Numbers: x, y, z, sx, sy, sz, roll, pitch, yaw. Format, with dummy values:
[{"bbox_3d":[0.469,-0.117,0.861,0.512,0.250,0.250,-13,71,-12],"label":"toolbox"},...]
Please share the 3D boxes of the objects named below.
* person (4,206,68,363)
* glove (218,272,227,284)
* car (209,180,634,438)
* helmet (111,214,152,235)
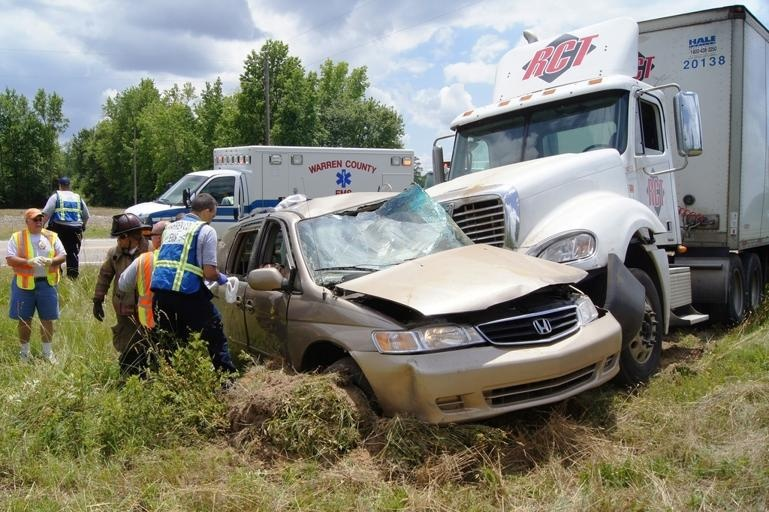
[{"bbox_3d":[-4.995,0.332,9.413,0.720,1.965,0.540,-2,4,-31],"label":"person"},{"bbox_3d":[-1.823,0.257,7.482,0.113,0.122,0.116,-8,8,-26],"label":"glove"},{"bbox_3d":[-0.041,0.475,7.096,2.254,1.370,3.563,-9,9,-38],"label":"car"},{"bbox_3d":[-3.348,-0.414,8.633,0.304,0.226,0.440,-4,8,39],"label":"helmet"}]
